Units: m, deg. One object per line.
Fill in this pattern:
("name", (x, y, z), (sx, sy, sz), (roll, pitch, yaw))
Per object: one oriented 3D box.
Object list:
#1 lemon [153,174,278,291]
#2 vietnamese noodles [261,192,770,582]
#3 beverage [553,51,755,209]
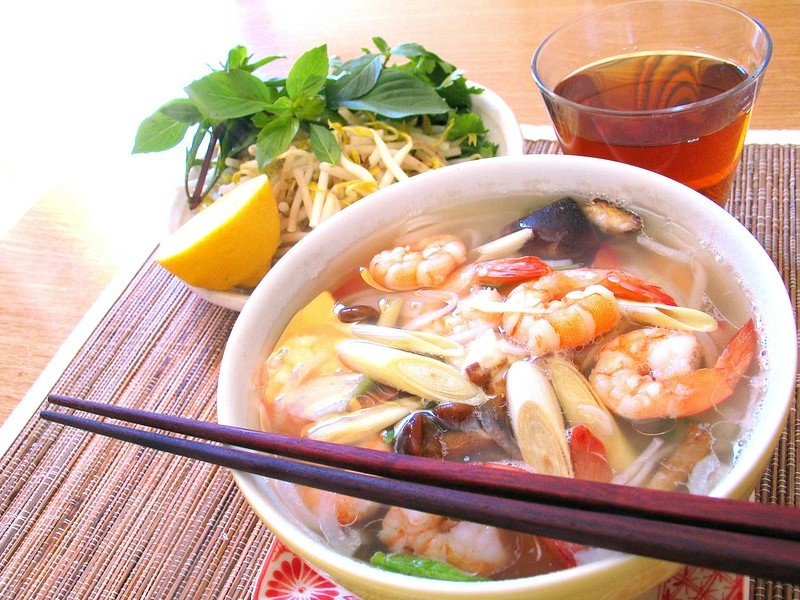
("lemon", (-0.388, -0.140, 1.400), (0.172, 0.231, 0.229), (49, 34, -7))
("vietnamese noodles", (0.155, 0.097, 0.859), (0.598, 0.188, 0.502), (-2, 46, 19))
("beverage", (0.505, -0.322, 1.263), (0.371, 0.282, 0.343), (-3, 44, 23))
